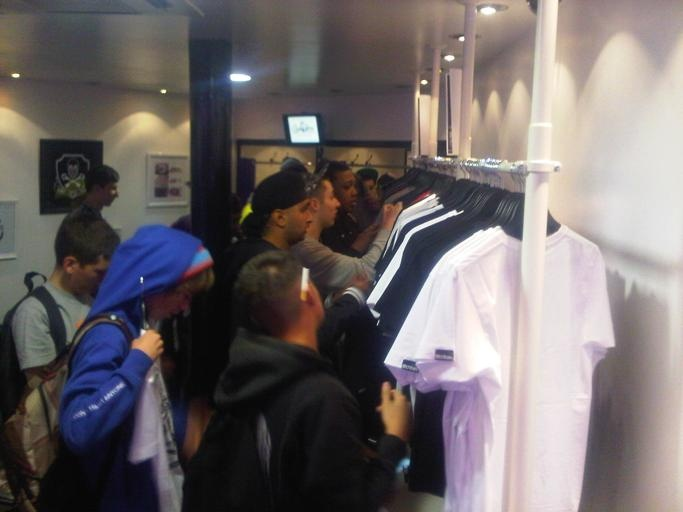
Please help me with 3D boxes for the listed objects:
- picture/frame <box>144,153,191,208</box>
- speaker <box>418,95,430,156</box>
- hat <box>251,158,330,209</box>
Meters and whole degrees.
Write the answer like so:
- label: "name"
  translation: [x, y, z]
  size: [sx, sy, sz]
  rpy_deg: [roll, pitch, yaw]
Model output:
- label: "picture/frame"
  translation: [-1.326, -0.570, 4.159]
  size: [0.052, 0.467, 0.504]
  rpy_deg: [-5, 3, 30]
- label: "speaker"
  translation: [0.470, -0.742, 3.126]
  size: [0.062, 0.328, 0.223]
  rpy_deg: [2, 5, 8]
- label: "hat"
  translation: [-0.178, -0.222, 1.962]
  size: [0.234, 0.185, 0.174]
  rpy_deg: [-25, 24, 12]
